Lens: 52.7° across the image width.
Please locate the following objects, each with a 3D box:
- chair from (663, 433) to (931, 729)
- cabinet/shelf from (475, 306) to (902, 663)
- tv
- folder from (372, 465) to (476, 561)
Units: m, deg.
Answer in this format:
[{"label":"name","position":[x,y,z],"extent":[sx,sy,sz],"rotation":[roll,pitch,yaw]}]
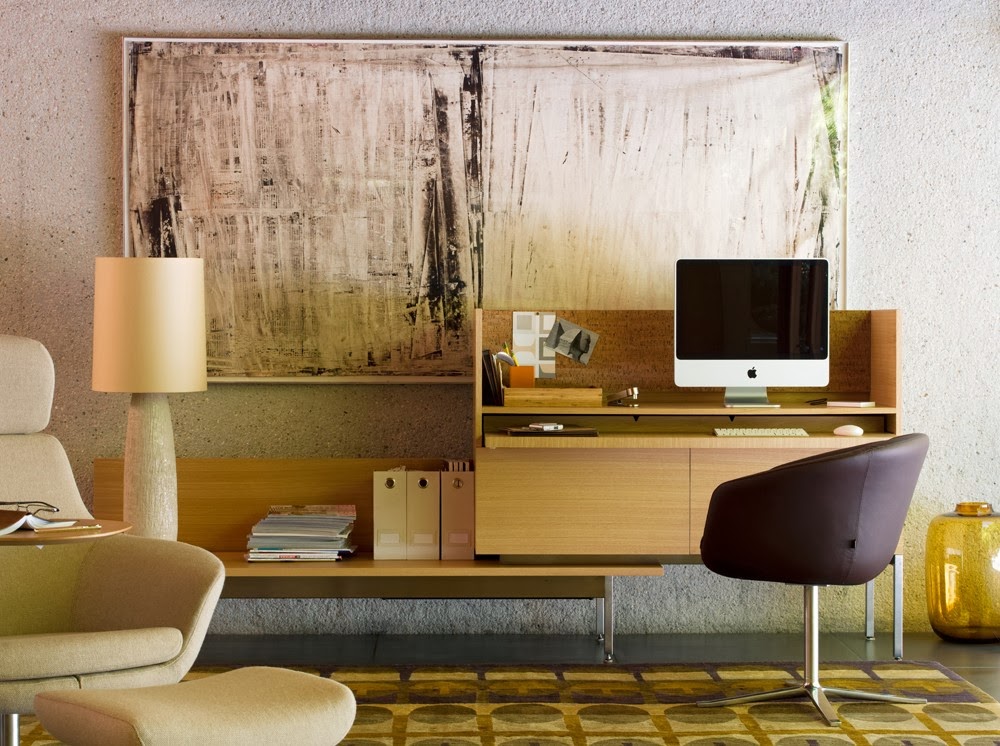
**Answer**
[{"label":"chair","position":[1.188,0.719,4.081],"extent":[1.025,1.209,1.134],"rotation":[-2,-6,33]},{"label":"cabinet/shelf","position":[0.726,0.392,4.081],"extent":[1.747,1.166,0.523],"rotation":[0,-3,1]},{"label":"tv","position":[1.036,-0.189,4.179],"extent":[0.751,0.583,0.227],"rotation":[0,-3,-1]},{"label":"folder","position":[-0.314,0.586,4.167],"extent":[0.405,0.369,0.097],"rotation":[0,7,2]}]
